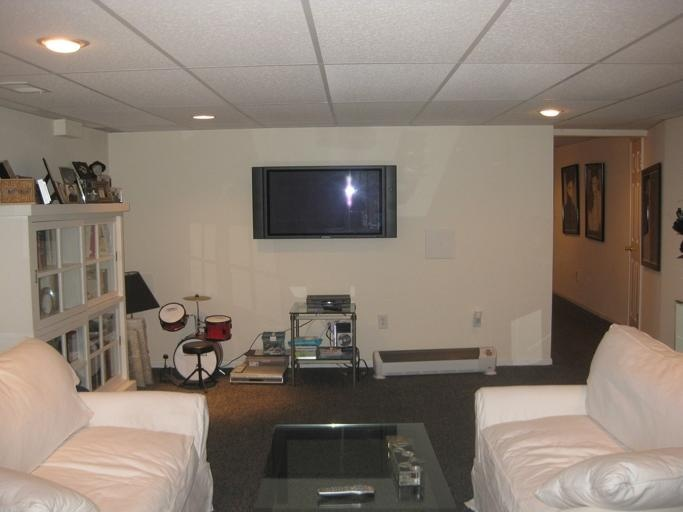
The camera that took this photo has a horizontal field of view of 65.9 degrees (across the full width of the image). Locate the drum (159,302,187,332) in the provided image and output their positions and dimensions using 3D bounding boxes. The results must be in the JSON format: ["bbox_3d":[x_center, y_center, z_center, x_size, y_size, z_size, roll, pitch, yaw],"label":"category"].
[{"bbox_3d":[-1.696,0.607,5.306,0.279,0.177,0.271,1,35,0],"label":"drum"}]

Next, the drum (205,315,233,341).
[{"bbox_3d":[-1.211,0.710,5.263,0.257,0.194,0.253,-1,3,0],"label":"drum"}]

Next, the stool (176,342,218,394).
[{"bbox_3d":[-1.353,1.040,5.171,0.425,0.590,0.414,2,7,-3],"label":"stool"}]

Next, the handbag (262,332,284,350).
[{"bbox_3d":[-0.695,0.867,5.387,0.174,0.130,0.178,0,-3,-4],"label":"handbag"}]

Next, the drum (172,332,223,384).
[{"bbox_3d":[-1.404,1.026,5.200,0.478,0.525,0.297,0,8,11],"label":"drum"}]
